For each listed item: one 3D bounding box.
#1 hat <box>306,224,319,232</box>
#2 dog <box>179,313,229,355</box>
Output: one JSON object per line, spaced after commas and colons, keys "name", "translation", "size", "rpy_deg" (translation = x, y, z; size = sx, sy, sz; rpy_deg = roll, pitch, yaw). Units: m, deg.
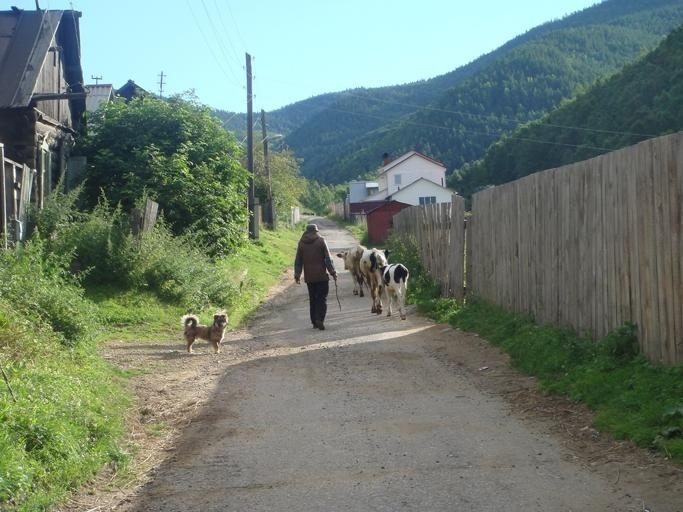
{"name": "hat", "translation": [-0.629, -0.582, 15.598], "size": [0.271, 0.171, 0.276], "rpy_deg": [4, 5, 2]}
{"name": "dog", "translation": [-2.492, 1.367, 13.180], "size": [0.938, 0.831, 0.474], "rpy_deg": [1, 4, -5]}
